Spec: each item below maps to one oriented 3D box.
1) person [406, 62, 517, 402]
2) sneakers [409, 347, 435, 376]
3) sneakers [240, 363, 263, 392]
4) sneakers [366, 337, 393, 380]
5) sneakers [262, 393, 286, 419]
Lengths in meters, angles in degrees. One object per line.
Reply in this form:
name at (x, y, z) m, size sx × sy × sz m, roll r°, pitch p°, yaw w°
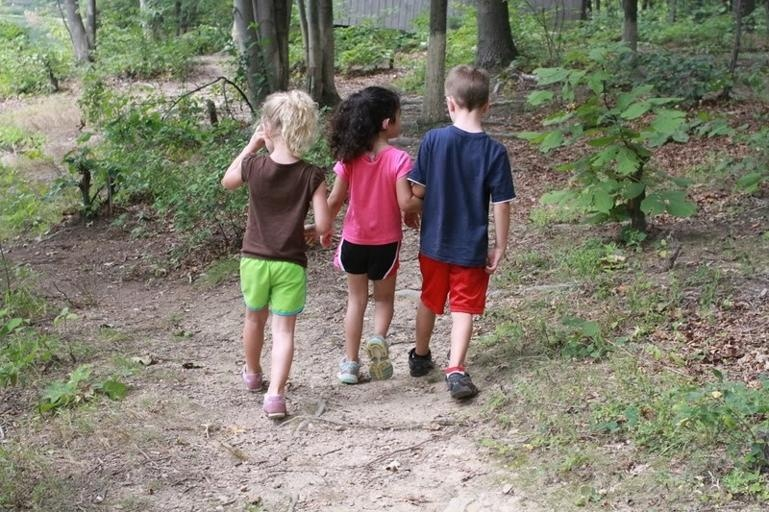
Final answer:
person at (0.640, -0.200, 6.439) m, size 0.978 × 2.791 × 0.882 m, roll -6°, pitch 19°, yaw -5°
sneakers at (0.337, 1.002, 6.937) m, size 0.135 × 0.141 × 0.332 m, roll 1°, pitch 13°, yaw 1°
sneakers at (-1.216, 1.135, 6.832) m, size 0.117 × 0.123 × 0.294 m, roll -1°, pitch 12°, yaw -9°
sneakers at (-0.044, 0.938, 6.912) m, size 0.226 × 0.413 × 0.188 m, roll -8°, pitch 9°, yaw 6°
sneakers at (-0.950, 1.306, 6.406) m, size 0.123 × 0.130 × 0.284 m, roll 0°, pitch 6°, yaw -7°
